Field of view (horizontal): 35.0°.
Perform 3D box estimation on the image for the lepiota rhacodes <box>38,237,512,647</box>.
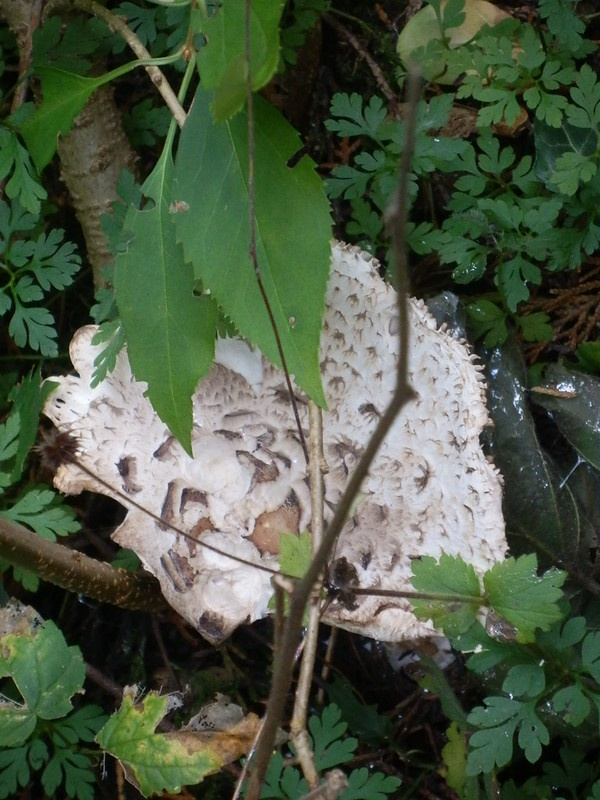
[{"bbox_3d":[-0.110,0.227,2.458,1.066,1.059,0.347,-40,9,-10],"label":"lepiota rhacodes"}]
